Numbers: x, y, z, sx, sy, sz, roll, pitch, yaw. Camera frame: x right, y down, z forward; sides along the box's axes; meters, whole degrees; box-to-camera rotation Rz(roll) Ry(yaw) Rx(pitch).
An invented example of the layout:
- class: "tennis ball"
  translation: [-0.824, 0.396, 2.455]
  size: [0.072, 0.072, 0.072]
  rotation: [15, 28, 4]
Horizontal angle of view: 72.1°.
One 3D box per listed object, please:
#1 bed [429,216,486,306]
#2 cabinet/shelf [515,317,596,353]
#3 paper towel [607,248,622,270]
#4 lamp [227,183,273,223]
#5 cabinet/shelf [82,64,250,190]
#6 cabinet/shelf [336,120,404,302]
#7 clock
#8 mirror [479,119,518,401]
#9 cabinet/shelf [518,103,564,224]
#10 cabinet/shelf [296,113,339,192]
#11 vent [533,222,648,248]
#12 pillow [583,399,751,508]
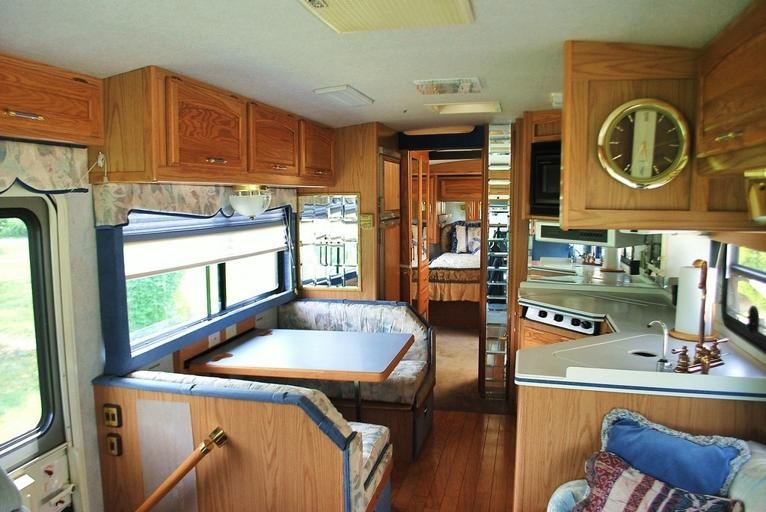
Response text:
- class: "bed"
  translation: [1.076, 0.181, 7.560]
  size: [0.822, 0.761, 1.247]
  rotation: [1, 5, 13]
- class: "cabinet/shelf"
  translation: [1.273, 0.664, 4.094]
  size: [0.081, 0.275, 0.653]
  rotation: [-9, 14, -30]
- class: "paper towel"
  translation: [2.029, 0.072, 4.631]
  size: [0.139, 0.188, 0.066]
  rotation: [1, 14, 10]
- class: "lamp"
  translation: [-0.982, -0.316, 3.809]
  size: [0.259, 0.183, 0.243]
  rotation: [-1, 2, -28]
- class: "cabinet/shelf"
  translation: [-1.173, -0.673, 3.034]
  size: [0.339, 0.591, 0.761]
  rotation: [9, 15, 38]
- class: "cabinet/shelf"
  translation: [-0.155, -0.298, 5.000]
  size: [0.486, 1.661, 0.636]
  rotation: [2, 14, 12]
- class: "clock"
  translation: [1.306, -0.519, 2.580]
  size: [0.555, 0.506, 0.074]
  rotation: [1, 2, 5]
- class: "mirror"
  translation: [1.059, 0.118, 4.925]
  size: [0.279, 2.450, 0.422]
  rotation: [1, 14, 10]
- class: "cabinet/shelf"
  translation: [1.337, -0.678, 4.349]
  size: [0.172, 0.847, 0.427]
  rotation: [-9, 15, -30]
- class: "cabinet/shelf"
  translation: [-0.556, -0.802, 4.372]
  size: [0.348, 0.488, 0.638]
  rotation: [-1, -1, 11]
- class: "vent"
  translation: [1.729, -0.129, 4.448]
  size: [0.925, 0.177, 0.204]
  rotation: [4, 13, 23]
- class: "pillow"
  translation: [1.337, 0.894, 2.451]
  size: [0.481, 0.128, 0.450]
  rotation: [0, 26, 42]
